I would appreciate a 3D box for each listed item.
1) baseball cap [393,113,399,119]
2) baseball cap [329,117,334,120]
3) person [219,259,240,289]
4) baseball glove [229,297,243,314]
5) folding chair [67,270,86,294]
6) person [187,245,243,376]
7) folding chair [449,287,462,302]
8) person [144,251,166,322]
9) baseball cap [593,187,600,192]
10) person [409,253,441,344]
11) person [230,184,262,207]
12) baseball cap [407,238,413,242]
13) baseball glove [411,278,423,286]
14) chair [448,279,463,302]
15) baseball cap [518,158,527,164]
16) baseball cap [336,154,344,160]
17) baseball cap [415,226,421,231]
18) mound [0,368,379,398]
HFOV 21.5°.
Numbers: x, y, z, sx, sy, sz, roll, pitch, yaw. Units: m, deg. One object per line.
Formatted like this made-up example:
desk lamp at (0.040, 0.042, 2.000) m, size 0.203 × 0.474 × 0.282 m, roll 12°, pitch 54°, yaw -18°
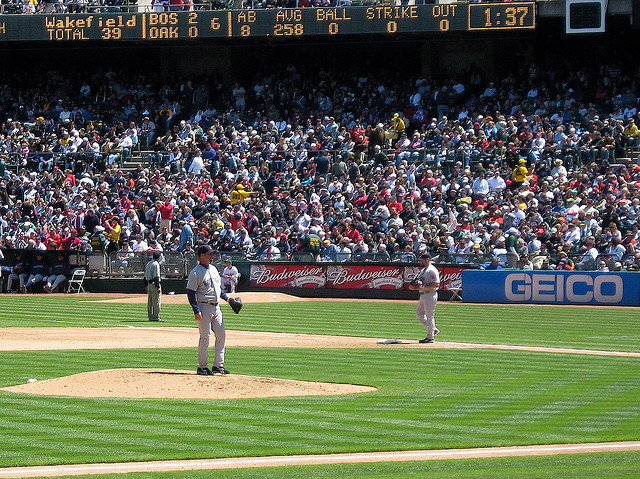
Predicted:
baseball cap at (2.872, -4.668, 63.195) m, size 0.303 × 0.191 × 0.360 m, roll -3°, pitch 0°, yaw 0°
baseball cap at (0.446, -4.663, 64.284) m, size 0.204 × 0.097 × 0.204 m, roll 3°, pitch 1°, yaw 36°
person at (-3.096, 1.137, 57.624) m, size 0.730 × 1.069 × 0.628 m, roll 0°, pitch 7°, yaw 22°
baseball glove at (-2.176, 1.632, 43.695) m, size 0.261 × 0.411 × 0.178 m, roll -1°, pitch 21°, yaw 27°
folding chair at (-8.675, 1.371, 59.687) m, size 0.736 × 0.960 × 0.591 m, roll 0°, pitch -5°, yaw 10°
person at (-2.876, 1.761, 42.875) m, size 1.024 × 3.248 × 0.566 m, roll -1°, pitch 5°, yaw -13°
folding chair at (4.574, 1.753, 56.285) m, size 0.390 × 0.365 × 0.391 m, roll -2°, pitch -1°, yaw 33°
person at (-5.106, 1.390, 51.561) m, size 0.601 × 2.049 × 0.738 m, roll -1°, pitch 5°, yaw -5°
baseball cap at (9.155, -1.683, 55.422) m, size 0.205 × 0.142 × 0.091 m, roll 0°, pitch 5°, yaw 8°
person at (3.014, 1.605, 47.809) m, size 0.725 × 2.440 × 1.269 m, roll 0°, pitch 5°, yaw 5°
person at (-2.654, -1.633, 60.140) m, size 0.781 × 0.659 × 0.867 m, roll -12°, pitch -20°, yaw 35°
baseball cap at (3.051, -0.046, 56.709) m, size 0.102 × 0.107 × 0.231 m, roll -3°, pitch 5°, yaw -33°
baseball glove at (2.812, 1.182, 48.454) m, size 0.329 × 0.142 × 0.450 m, roll 0°, pitch 0°, yaw 7°
chair at (4.601, 1.624, 56.398) m, size 0.639 × 0.812 × 0.586 m, roll 0°, pitch -5°, yaw 6°
baseball cap at (6.966, -2.712, 57.515) m, size 0.299 × 0.166 × 0.146 m, roll 0°, pitch 4°, yaw 6°
baseball cap at (0.711, -2.998, 60.519) m, size 0.281 × 0.153 × 0.350 m, roll -3°, pitch 5°, yaw -27°
baseball cap at (3.353, -0.423, 56.651) m, size 0.163 × 0.138 × 0.119 m, roll 3°, pitch 5°, yaw 33°
mound at (-3.534, 3.571, 42.218) m, size 8.211 × 0.459 × 1.703 m, roll 0°, pitch 4°, yaw -1°
